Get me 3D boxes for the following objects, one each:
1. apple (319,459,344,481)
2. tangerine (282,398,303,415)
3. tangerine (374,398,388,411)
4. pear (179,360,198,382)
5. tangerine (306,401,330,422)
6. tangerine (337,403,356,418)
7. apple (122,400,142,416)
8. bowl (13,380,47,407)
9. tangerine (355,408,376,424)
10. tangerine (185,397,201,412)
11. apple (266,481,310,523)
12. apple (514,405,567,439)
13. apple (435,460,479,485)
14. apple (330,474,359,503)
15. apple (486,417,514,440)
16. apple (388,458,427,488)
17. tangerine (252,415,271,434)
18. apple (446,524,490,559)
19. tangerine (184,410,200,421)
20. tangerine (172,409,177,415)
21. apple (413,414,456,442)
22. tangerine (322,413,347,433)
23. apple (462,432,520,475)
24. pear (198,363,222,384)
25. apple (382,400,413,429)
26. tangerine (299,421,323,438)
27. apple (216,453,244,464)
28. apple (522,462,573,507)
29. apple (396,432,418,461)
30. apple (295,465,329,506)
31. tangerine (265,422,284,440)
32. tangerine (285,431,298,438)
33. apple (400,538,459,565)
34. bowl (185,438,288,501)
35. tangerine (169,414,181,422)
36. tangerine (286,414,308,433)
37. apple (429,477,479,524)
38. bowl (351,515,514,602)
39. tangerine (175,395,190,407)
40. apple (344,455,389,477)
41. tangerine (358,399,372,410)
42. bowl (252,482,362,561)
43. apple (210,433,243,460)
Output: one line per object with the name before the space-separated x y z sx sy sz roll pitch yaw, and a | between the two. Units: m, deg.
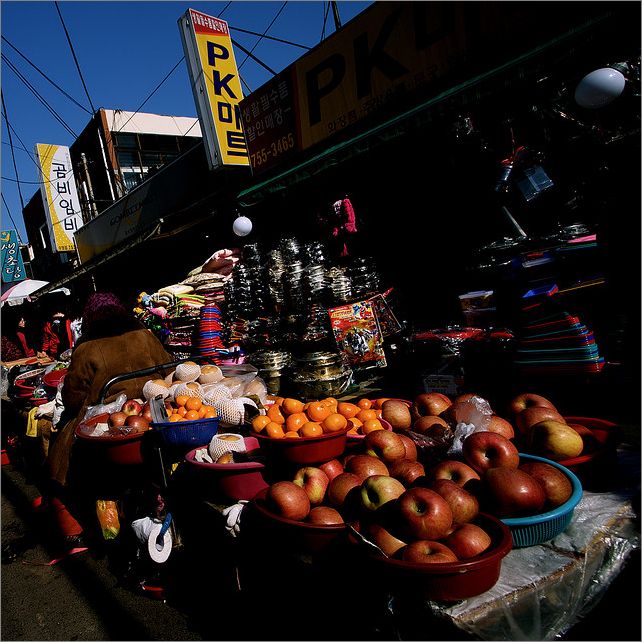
apple | 0.056 0.643 1.967 0.084 0.087 0.073 -5 41 12
tangerine | -0.151 0.461 2.405 0.117 0.077 0.078 7 12 -2
tangerine | 0.340 0.466 2.530 0.069 0.058 0.073 4 31 12
pear | -0.989 0.385 3.385 0.130 0.102 0.137 -1 2 -4
tangerine | -0.012 0.468 2.284 0.094 0.083 0.089 22 12 -27
tangerine | 0.146 0.474 2.415 0.081 0.033 0.077 10 4 28
apple | -1.226 0.563 2.946 0.097 0.081 0.094 -4 27 -42
bowl | -4.022 0.991 6.226 0.539 0.247 0.681 0 -1 -42
tangerine | 0.232 0.489 2.339 0.069 0.060 0.076 -9 -35 -7
tangerine | -0.775 0.505 2.738 0.080 0.083 0.079 -20 -27 40
apple | -0.116 0.673 1.710 0.158 0.128 0.134 7 11 1
apple | 0.936 0.419 1.963 0.155 0.131 0.158 -35 -21 35
apple | 0.506 0.565 1.692 0.101 0.089 0.085 14 -30 28
apple | 0.083 0.643 1.773 0.119 0.093 0.106 -12 -18 -2
apple | 0.766 0.460 1.933 0.079 0.074 0.093 -30 19 1
apple | 0.343 0.585 1.773 0.104 0.086 0.090 4 17 -7
tangerine | -0.298 0.526 2.290 0.077 0.075 0.070 1 -5 10
apple | 0.465 0.688 1.430 0.099 0.080 0.089 -4 -21 -4
tangerine | -0.740 0.537 2.592 0.056 0.049 0.061 18 10 -14
tangerine | -0.894 0.553 2.760 0.034 0.026 0.031 -3 -1 -3
apple | 0.518 0.493 2.098 0.122 0.087 0.090 7 38 17
tangerine | 0.071 0.469 2.123 0.094 0.071 0.102 10 13 5
apple | 0.667 0.508 1.778 0.192 0.147 0.134 -6 1 15
pear | -0.827 0.403 3.358 0.139 0.107 0.128 -2 -1 -11
apple | 0.398 0.485 2.369 0.124 0.075 0.141 14 21 -12
tangerine | -0.054 0.478 2.003 0.067 0.070 0.058 4 47 2
apple | -0.417 0.646 2.134 0.093 0.033 0.067 6 -5 -10
apple | 0.817 0.575 1.643 0.109 0.075 0.148 -20 31 -27
apple | 0.390 0.551 2.007 0.122 0.120 0.111 -1 3 -1
apple | -0.033 0.658 1.844 0.133 0.118 0.126 -15 -34 42
tangerine | -0.216 0.504 2.101 0.072 0.047 0.052 24 36 34
tangerine | -0.130 0.510 2.040 0.044 0.032 0.035 -13 -7 29
apple | 0.324 0.676 1.397 0.095 0.074 0.093 -11 6 -41
bowl | -0.373 0.677 2.075 0.521 0.169 0.475 0 -1 0
tangerine | -0.839 0.558 2.596 0.049 0.050 0.044 10 31 -3
tangerine | -0.127 0.504 2.229 0.084 0.100 0.081 -20 -34 39
apple | 0.470 0.650 1.593 0.174 0.132 0.154 4 8 15
bowl | 0.358 0.696 1.373 0.282 0.079 0.270 -8 -1 0
tangerine | -0.884 0.505 2.855 0.087 0.083 0.076 3 -5 2
apple | 0.179 0.589 1.831 0.121 0.088 0.091 3 -35 24
tangerine | 0.242 0.463 2.549 0.072 0.070 0.068 -12 -3 34
bowl | -0.104 0.781 1.717 0.174 0.251 0.502 -15 4 -36
apple | -0.470 0.627 2.271 0.129 0.084 0.117 1 -2 -3
